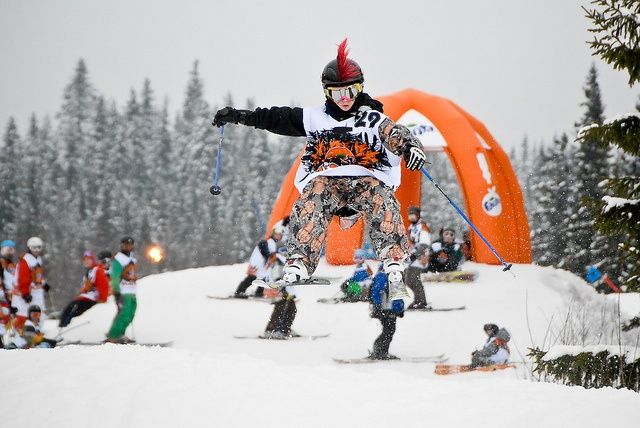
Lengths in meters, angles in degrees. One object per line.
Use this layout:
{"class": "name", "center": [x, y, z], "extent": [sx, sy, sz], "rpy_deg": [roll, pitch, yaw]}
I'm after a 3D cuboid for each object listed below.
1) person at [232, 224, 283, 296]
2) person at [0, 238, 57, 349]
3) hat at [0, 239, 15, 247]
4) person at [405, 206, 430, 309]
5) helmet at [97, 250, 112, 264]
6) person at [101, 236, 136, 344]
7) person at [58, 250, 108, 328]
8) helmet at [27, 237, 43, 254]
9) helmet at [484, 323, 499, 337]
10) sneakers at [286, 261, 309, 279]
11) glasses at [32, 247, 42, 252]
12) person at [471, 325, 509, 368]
{"class": "person", "center": [-1.112, 0.782, 20.196], "extent": [0.961, 0.465, 1.387], "rpy_deg": [-4, -24, -45]}
{"class": "person", "center": [-5.534, 1.451, 17.851], "extent": [0.704, 2.053, 0.360], "rpy_deg": [3, -4, -20]}
{"class": "hat", "center": [-6.014, 0.586, 18.041], "extent": [0.217, 0.136, 0.181], "rpy_deg": [-3, 17, -22]}
{"class": "person", "center": [1.993, 0.953, 19.104], "extent": [0.608, 1.857, 0.771], "rpy_deg": [14, -49, -6]}
{"class": "helmet", "center": [-4.246, 0.858, 18.530], "extent": [0.195, 0.305, 0.276], "rpy_deg": [0, -14, -42]}
{"class": "person", "center": [-3.743, 1.399, 17.719], "extent": [0.504, 1.974, 0.524], "rpy_deg": [4, -4, -28]}
{"class": "person", "center": [-4.577, 1.434, 18.268], "extent": [0.888, 1.449, 0.507], "rpy_deg": [2, -4, -5]}
{"class": "helmet", "center": [-5.480, 0.576, 17.959], "extent": [0.292, 0.392, 0.384], "rpy_deg": [2, -6, -20]}
{"class": "helmet", "center": [3.135, 2.055, 17.066], "extent": [0.181, 0.240, 0.239], "rpy_deg": [6, 10, 22]}
{"class": "sneakers", "center": [-0.381, 0.872, 14.703], "extent": [0.236, 0.325, 0.283], "rpy_deg": [0, 5, -1]}
{"class": "glasses", "center": [-5.454, 0.648, 17.936], "extent": [0.150, 0.091, 0.074], "rpy_deg": [12, -29, -31]}
{"class": "person", "center": [3.094, 2.355, 16.970], "extent": [0.714, 0.930, 0.629], "rpy_deg": [2, -5, 9]}
